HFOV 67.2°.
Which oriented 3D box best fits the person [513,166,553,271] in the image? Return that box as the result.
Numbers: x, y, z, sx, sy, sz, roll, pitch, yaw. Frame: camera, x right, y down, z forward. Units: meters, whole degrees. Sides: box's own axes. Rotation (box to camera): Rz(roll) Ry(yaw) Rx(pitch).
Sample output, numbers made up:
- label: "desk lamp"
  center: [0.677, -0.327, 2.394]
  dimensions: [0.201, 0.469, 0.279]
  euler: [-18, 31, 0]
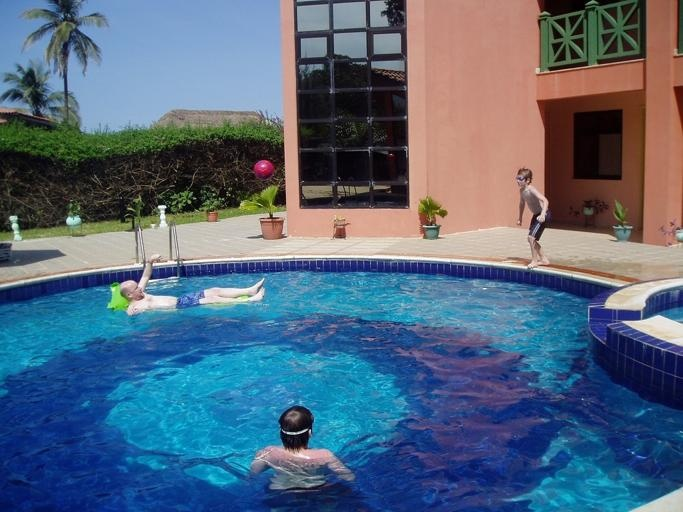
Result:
- label: "person"
  center: [3.568, -0.731, 9.588]
  dimensions: [0.606, 1.803, 0.897]
  euler: [3, 15, 21]

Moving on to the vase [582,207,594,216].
- label: "vase"
  center: [6.969, -1.279, 14.591]
  dimensions: [0.232, 0.218, 0.218]
  euler: [-1, 6, 10]

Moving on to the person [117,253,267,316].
- label: "person"
  center: [-2.582, 0.627, 8.870]
  dimensions: [2.216, 0.539, 0.309]
  euler: [-6, 14, -15]

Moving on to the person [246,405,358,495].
- label: "person"
  center: [-0.251, 1.671, 4.119]
  dimensions: [0.680, 0.847, 0.415]
  euler: [-19, -6, 35]

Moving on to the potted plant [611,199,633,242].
- label: "potted plant"
  center: [6.494, -0.822, 11.971]
  dimensions: [0.473, 0.835, 0.391]
  euler: [1, 5, 8]

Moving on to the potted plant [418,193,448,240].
- label: "potted plant"
  center: [2.353, -1.033, 13.484]
  dimensions: [0.689, 1.109, 0.743]
  euler: [-1, 14, 8]
